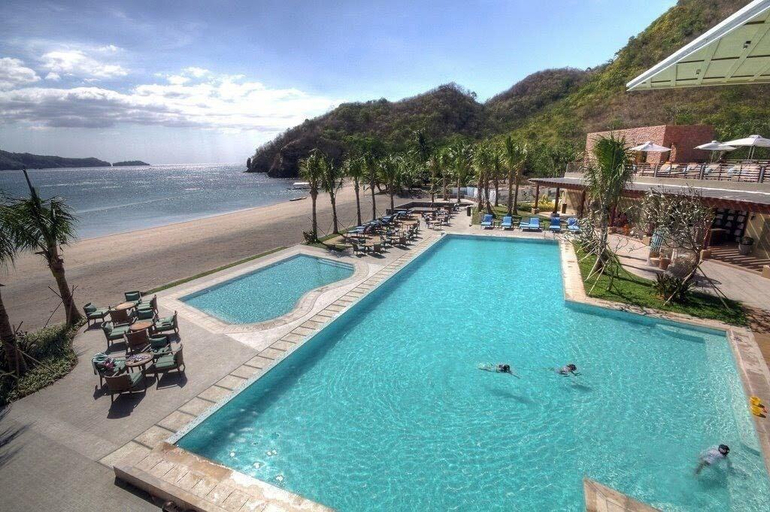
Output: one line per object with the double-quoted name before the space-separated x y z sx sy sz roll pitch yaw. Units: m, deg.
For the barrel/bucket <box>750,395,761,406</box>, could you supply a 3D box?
"barrel/bucket" 14.584 5.648 16.755 0.409 0.232 0.340 -13 21 -39
